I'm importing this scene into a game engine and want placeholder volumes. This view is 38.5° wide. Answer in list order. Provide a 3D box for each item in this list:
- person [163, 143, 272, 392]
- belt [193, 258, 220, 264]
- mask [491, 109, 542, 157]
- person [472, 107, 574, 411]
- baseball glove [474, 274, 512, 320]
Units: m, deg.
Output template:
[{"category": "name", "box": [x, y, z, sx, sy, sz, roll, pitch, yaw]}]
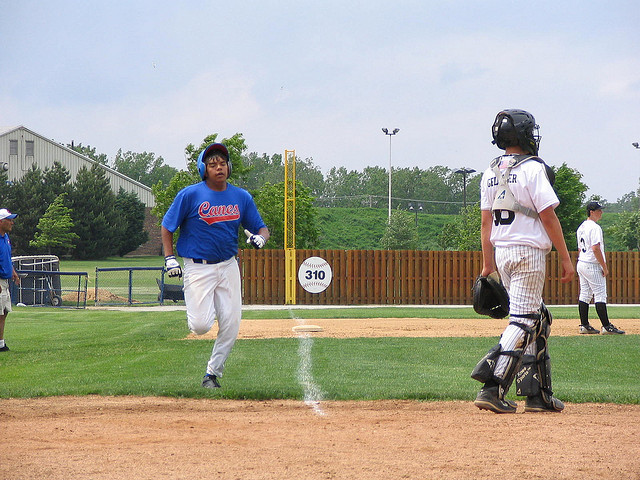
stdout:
[{"category": "person", "box": [-1.320, 0.321, 11.208, 1.267, 2.937, 0.550, 0, -5, -17]}, {"category": "belt", "box": [-1.393, 0.257, 11.054, 0.313, 0.070, 0.067, -1, -5, -5]}, {"category": "mask", "box": [2.233, -1.204, 10.435, 0.538, 0.567, 0.557, 0, 6, 13]}, {"category": "person", "box": [2.194, 0.200, 10.062, 1.009, 3.335, 0.507, -3, -5, 14]}, {"category": "baseball glove", "box": [1.924, 0.642, 10.363, 0.475, 0.463, 0.341, 2, 8, 27]}]
